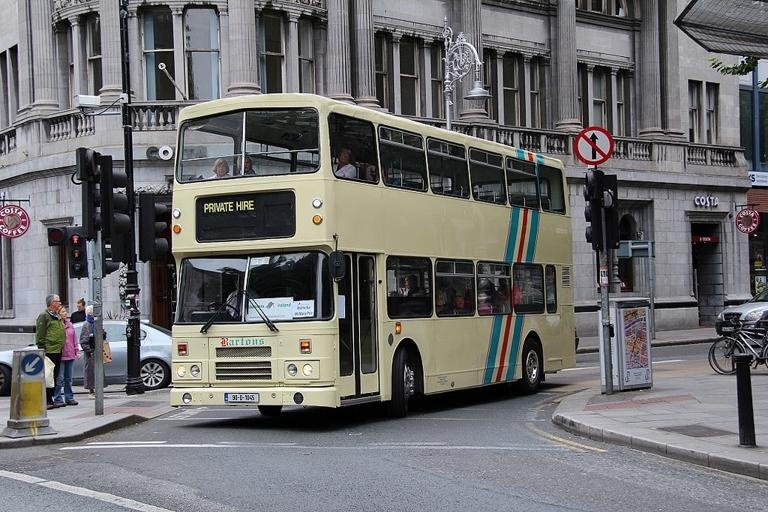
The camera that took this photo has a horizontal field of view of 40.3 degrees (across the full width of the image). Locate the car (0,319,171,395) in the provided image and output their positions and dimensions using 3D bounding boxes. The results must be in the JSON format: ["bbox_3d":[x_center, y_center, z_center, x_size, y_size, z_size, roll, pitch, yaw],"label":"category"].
[{"bbox_3d":[-7.745,2.777,28.753,4.779,1.790,2.104,1,-4,-10],"label":"car"}]

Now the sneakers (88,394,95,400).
[{"bbox_3d":[-7.382,3.625,26.756,0.118,0.166,0.374,-2,-7,19],"label":"sneakers"}]

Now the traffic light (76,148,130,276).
[{"bbox_3d":[-5.912,-1.072,22.359,1.046,2.471,0.682,-5,6,-24],"label":"traffic light"}]

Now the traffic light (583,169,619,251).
[{"bbox_3d":[4.919,-1.025,23.565,0.756,1.857,0.503,-2,6,5],"label":"traffic light"}]

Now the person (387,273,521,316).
[{"bbox_3d":[1.644,0.943,24.529,0.977,1.084,3.759,-5,-7,38],"label":"person"}]

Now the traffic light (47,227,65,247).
[{"bbox_3d":[-7.011,-0.430,22.704,0.350,0.369,0.551,-4,6,-17],"label":"traffic light"}]

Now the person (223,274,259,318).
[{"bbox_3d":[-2.910,0.941,21.696,0.817,0.883,0.632,0,-2,14],"label":"person"}]
